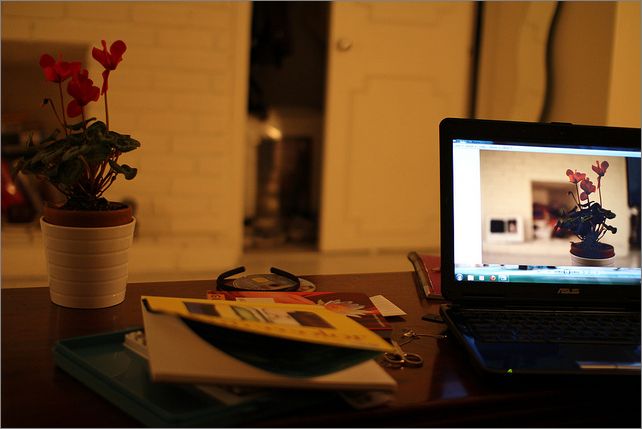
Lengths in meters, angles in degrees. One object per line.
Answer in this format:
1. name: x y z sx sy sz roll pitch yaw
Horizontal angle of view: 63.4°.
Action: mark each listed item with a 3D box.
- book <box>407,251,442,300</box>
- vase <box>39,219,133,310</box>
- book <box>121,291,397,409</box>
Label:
1. book: 0.267 0.151 1.270 0.078 0.023 0.188 2 24 -8
2. vase: -0.502 0.105 1.135 0.205 0.165 0.212 2 -3 -32
3. book: -0.093 0.194 0.830 0.347 0.116 0.264 1 12 -24
